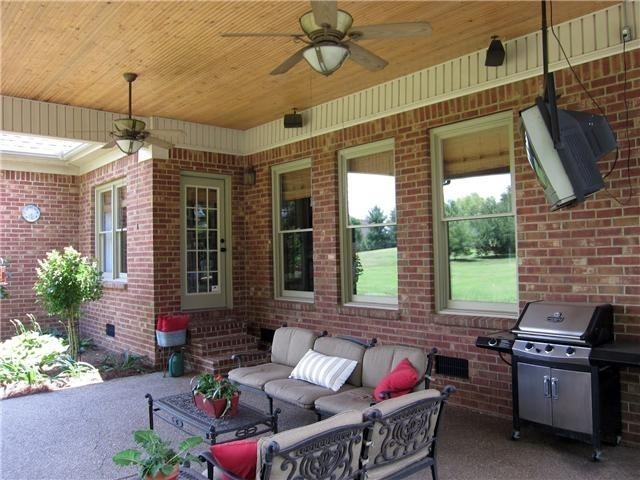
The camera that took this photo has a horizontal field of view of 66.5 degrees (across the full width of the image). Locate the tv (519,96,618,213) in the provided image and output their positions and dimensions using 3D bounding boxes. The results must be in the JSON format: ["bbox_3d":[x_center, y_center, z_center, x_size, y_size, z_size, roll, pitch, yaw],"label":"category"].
[{"bbox_3d":[2.331,-0.823,4.584,0.752,1.026,0.298,-3,-1,-13],"label":"tv"}]

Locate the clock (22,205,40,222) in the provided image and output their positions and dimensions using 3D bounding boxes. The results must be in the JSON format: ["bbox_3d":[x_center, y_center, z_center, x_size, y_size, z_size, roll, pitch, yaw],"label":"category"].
[{"bbox_3d":[-5.947,-0.547,10.098,0.073,0.302,0.319,-2,-3,45],"label":"clock"}]

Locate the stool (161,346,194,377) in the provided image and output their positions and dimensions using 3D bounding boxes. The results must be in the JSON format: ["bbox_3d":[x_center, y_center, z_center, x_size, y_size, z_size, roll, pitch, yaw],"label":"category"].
[{"bbox_3d":[-2.291,1.905,7.609,0.349,0.629,0.494,-9,-10,44],"label":"stool"}]

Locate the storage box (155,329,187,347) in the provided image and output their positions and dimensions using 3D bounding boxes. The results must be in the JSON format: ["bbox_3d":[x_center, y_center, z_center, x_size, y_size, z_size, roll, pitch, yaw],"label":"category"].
[{"bbox_3d":[-2.305,1.531,7.615,0.379,0.199,0.286,3,-6,-36],"label":"storage box"}]

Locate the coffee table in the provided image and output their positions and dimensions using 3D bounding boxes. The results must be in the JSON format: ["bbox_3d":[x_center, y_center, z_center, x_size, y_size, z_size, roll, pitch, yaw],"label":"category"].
[{"bbox_3d":[-1.174,2.010,4.991,1.319,0.734,0.698,1,0,43],"label":"coffee table"}]

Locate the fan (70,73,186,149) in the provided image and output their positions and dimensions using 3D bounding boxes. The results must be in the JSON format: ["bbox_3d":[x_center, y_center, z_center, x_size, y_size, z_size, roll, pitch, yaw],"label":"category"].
[{"bbox_3d":[-2.657,-1.560,6.907,1.027,1.251,1.002,-1,-2,-1],"label":"fan"}]

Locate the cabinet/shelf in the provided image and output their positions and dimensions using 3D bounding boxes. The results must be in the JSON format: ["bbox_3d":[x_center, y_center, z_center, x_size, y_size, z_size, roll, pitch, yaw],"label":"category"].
[{"bbox_3d":[2.529,1.529,4.994,0.911,0.949,0.702,-3,-3,44],"label":"cabinet/shelf"}]

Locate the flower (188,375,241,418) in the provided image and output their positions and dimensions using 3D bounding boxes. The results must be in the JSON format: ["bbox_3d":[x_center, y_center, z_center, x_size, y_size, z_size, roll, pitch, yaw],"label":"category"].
[{"bbox_3d":[-1.047,1.525,4.794,0.379,0.341,0.529,2,-2,-35],"label":"flower"}]
